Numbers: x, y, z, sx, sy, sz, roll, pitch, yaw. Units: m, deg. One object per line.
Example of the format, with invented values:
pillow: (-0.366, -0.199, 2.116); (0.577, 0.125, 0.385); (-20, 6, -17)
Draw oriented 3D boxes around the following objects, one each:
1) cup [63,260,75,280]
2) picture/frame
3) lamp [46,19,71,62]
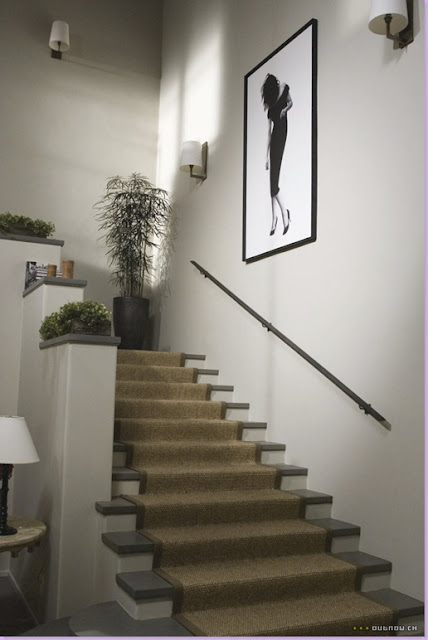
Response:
cup: (-1.031, -0.369, 3.366); (0.064, 0.117, 0.076); (2, 5, -32)
picture/frame: (0.504, -1.351, 3.759); (0.202, 1.794, 1.243); (3, 5, -15)
lamp: (-1.841, -3.408, 5.658); (0.242, 0.341, 0.580); (3, 6, -19)
